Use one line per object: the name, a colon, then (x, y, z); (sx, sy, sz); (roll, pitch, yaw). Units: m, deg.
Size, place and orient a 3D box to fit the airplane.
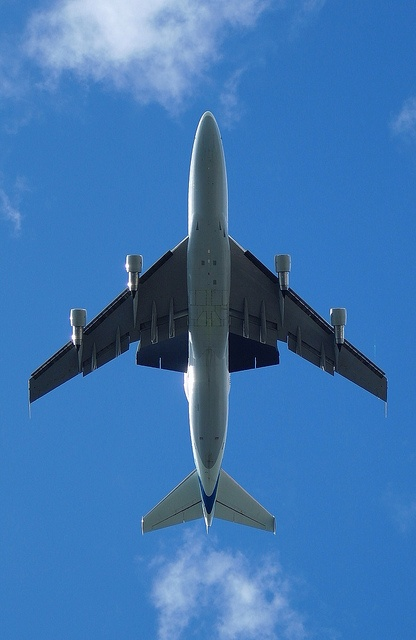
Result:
airplane: (-0.244, 0.147, 52.400); (9.261, 18.510, 4.785); (-1, 14, -2)
